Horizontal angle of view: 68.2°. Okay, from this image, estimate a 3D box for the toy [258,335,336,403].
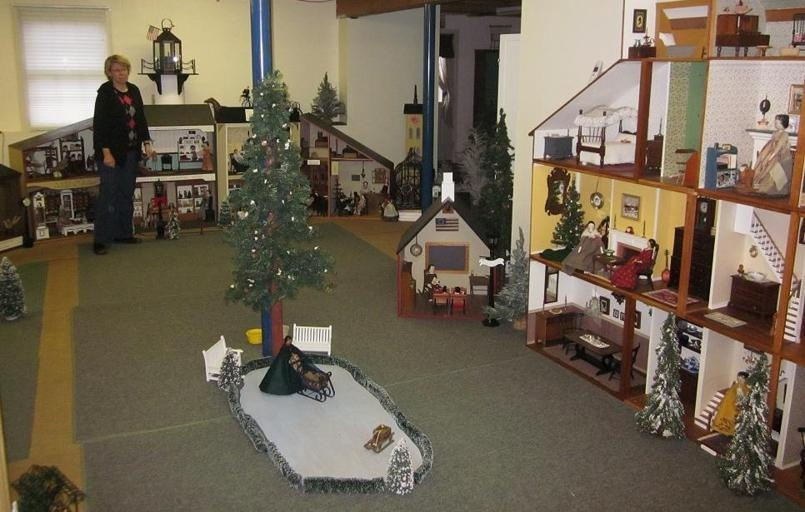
[{"bbox_3d":[-1.710,1.780,9.684,1.266,0.917,0.794,9,19,19],"label":"toy"}]

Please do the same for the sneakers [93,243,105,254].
[{"bbox_3d":[-7.601,-0.155,14.978,0.175,0.105,0.436,-11,24,-27],"label":"sneakers"}]
